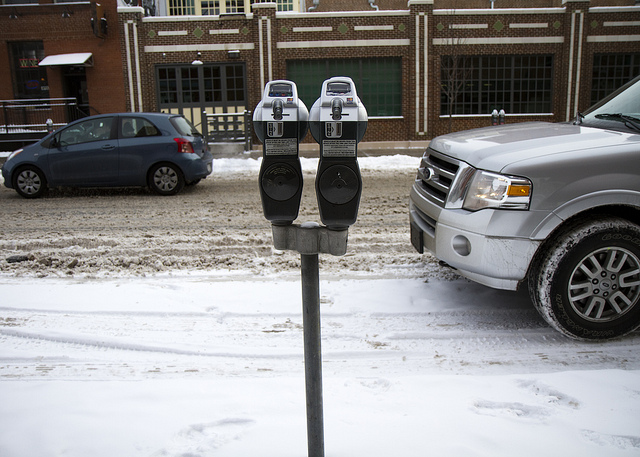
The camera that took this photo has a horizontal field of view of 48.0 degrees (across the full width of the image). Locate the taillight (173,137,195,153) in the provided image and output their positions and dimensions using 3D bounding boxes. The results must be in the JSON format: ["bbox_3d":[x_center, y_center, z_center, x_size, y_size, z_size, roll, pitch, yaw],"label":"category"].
[{"bbox_3d":[-2.427,-1.442,12.718,0.274,0.237,0.213,-4,11,-13],"label":"taillight"}]

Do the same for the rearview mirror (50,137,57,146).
[{"bbox_3d":[-4.798,-1.529,12.855,0.122,0.128,0.072,-5,14,-19],"label":"rearview mirror"}]

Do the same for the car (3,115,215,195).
[{"bbox_3d":[-3.707,-1.304,13.234,2.832,1.196,1.617,1,6,0],"label":"car"}]

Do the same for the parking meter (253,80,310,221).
[{"bbox_3d":[-0.301,-0.578,5.528,0.432,1.069,0.293,-1,13,-4],"label":"parking meter"}]

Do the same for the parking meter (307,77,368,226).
[{"bbox_3d":[0.123,-0.576,5.480,0.446,1.100,0.332,0,13,1],"label":"parking meter"}]

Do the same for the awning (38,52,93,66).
[{"bbox_3d":[-8.244,-5.420,23.128,1.509,0.390,0.946,0,14,2],"label":"awning"}]
